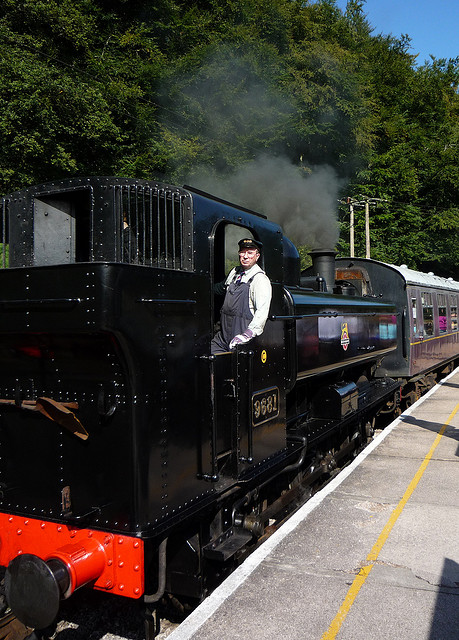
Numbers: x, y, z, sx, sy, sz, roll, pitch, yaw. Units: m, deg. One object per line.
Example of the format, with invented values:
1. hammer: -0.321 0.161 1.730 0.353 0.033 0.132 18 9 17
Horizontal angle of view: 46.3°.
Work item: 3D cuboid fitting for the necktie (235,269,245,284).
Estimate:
1. necktie: 0.065 -0.315 3.936 0.035 0.125 0.029 26 15 -10
